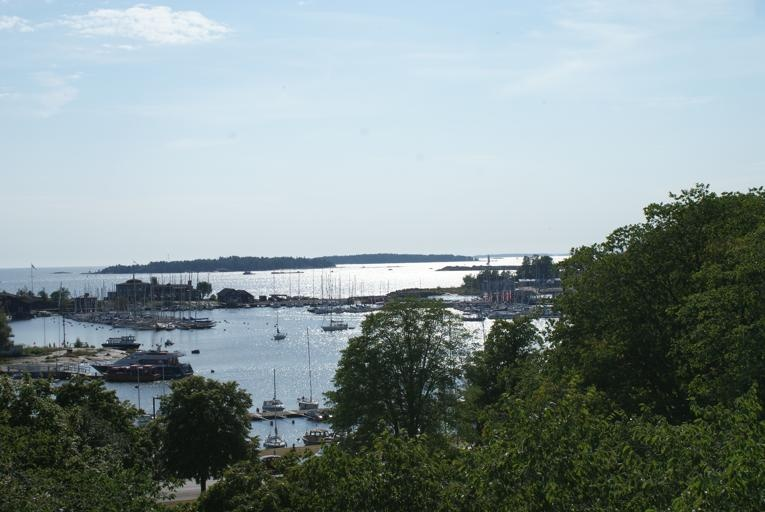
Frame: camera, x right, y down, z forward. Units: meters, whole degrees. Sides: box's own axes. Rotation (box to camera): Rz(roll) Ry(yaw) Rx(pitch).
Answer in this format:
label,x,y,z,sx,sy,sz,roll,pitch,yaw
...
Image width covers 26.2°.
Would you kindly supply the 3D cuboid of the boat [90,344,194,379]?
label,x,y,z,sx,sy,sz,roll,pitch,yaw
boat,-28.053,13.338,194.137,9.627,3.046,9.906,0,1,32
